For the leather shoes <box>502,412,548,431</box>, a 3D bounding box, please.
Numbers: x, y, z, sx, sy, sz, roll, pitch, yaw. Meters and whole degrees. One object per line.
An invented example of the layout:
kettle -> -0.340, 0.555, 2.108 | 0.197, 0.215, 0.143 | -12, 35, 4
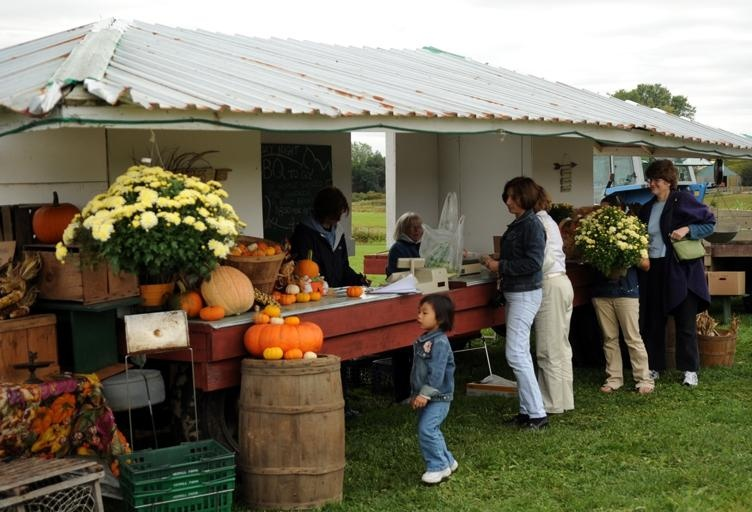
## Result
leather shoes -> 1.451, 1.596, 6.186 | 0.409, 0.156, 0.149 | 5, -5, 10

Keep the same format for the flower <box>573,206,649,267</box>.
flower -> 2.642, -0.216, 7.175 | 0.772, 0.684, 0.582 | 1, 6, 25

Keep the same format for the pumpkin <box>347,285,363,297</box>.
pumpkin -> -0.203, 0.318, 6.009 | 0.104, 0.067, 0.101 | -3, 6, -42

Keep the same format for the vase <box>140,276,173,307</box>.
vase -> -1.764, 0.275, 5.107 | 0.257, 0.185, 0.240 | 0, 1, 8

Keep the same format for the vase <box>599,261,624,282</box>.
vase -> 2.633, 0.174, 7.064 | 0.186, 0.148, 0.201 | 1, -2, -6

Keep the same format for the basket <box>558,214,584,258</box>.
basket -> 2.472, -0.258, 8.146 | 0.170, 0.481, 0.360 | 5, -6, -12

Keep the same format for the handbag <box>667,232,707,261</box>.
handbag -> 3.474, -0.120, 7.144 | 0.285, 0.267, 0.118 | -9, -10, -14

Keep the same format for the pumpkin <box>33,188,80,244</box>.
pumpkin -> -2.600, -0.292, 5.161 | 0.384, 0.370, 0.374 | 23, 25, 35

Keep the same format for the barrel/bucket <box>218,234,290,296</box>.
barrel/bucket -> -1.072, 0.138, 5.493 | 0.403, 0.525, 0.474 | 14, 21, 22

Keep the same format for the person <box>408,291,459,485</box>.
person -> 0.436, 1.033, 5.128 | 0.401, 1.390, 0.358 | -1, 2, -10

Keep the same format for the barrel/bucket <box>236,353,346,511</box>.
barrel/bucket -> -0.623, 1.289, 4.885 | 0.734, 1.053, 0.785 | -1, 1, 0

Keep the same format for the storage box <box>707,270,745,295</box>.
storage box -> 5.721, 0.430, 10.378 | 0.574, 0.346, 0.572 | 0, -1, 20

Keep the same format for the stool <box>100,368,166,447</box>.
stool -> -1.850, 1.080, 4.915 | 0.287, 0.515, 0.390 | 2, 6, 34

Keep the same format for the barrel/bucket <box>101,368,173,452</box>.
barrel/bucket -> -1.852, 1.183, 5.122 | 0.615, 0.695, 0.591 | -4, -3, 0

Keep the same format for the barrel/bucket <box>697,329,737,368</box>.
barrel/bucket -> 4.324, 1.170, 8.229 | 0.442, 0.359, 0.458 | 1, 2, 0

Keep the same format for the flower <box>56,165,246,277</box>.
flower -> -1.657, -0.250, 4.694 | 1.243, 0.827, 0.476 | -3, 5, -15
